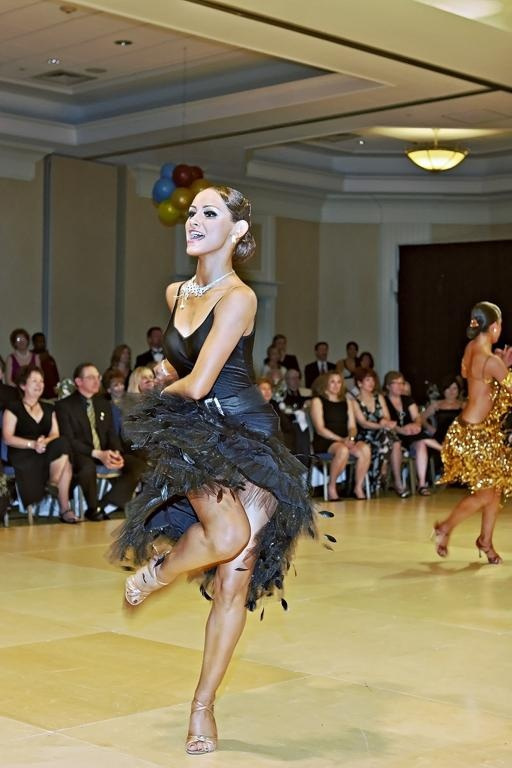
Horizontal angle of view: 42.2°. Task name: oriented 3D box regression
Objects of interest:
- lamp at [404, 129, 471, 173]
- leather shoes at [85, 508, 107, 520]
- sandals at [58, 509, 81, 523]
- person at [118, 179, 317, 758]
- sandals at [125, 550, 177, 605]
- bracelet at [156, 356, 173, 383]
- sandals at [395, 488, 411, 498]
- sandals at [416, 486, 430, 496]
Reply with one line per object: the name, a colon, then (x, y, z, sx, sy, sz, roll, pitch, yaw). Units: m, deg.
lamp: (2.869, -3.817, 10.857, 0.887, 0.536, 0.868, 0, -7, 0)
leather shoes: (-1.609, 1.294, 6.686, 0.217, 0.142, 0.166, 2, -2, -13)
sandals: (-1.830, 1.289, 6.494, 0.221, 0.120, 0.143, 1, -2, -1)
person: (-0.108, 0.172, 1.604, 0.419, 1.295, 0.429, -1, -3, 43)
sandals: (-0.270, 0.457, 1.598, 0.108, 0.058, 0.161, -12, -31, -36)
bracelet: (-0.249, -0.036, 1.790, 0.028, 0.066, 0.051, -38, -10, 22)
sandals: (1.898, 1.404, 8.588, 0.127, 0.070, 0.313, 0, -5, 1)
sandals: (2.192, 1.399, 8.712, 0.140, 0.084, 0.355, -1, 0, 1)
